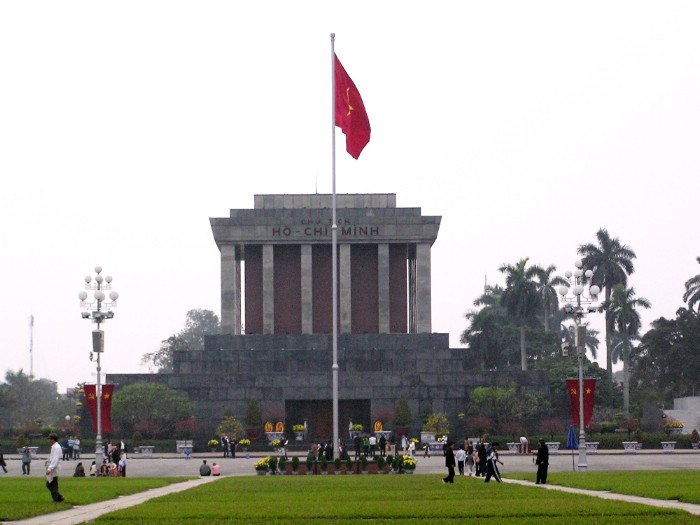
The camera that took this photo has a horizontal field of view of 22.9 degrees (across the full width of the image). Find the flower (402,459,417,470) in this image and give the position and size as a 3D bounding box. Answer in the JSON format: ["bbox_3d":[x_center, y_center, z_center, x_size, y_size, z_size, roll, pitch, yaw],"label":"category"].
[{"bbox_3d":[4.275,14.502,123.239,0.758,0.578,0.785,2,0,3],"label":"flower"}]

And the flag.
[{"bbox_3d":[0.006,-10.976,124.018,1.619,7.313,2.555,-12,-17,36],"label":"flag"}]

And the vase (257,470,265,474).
[{"bbox_3d":[-6.337,15.028,123.386,0.427,0.319,0.237,0,9,0],"label":"vase"}]

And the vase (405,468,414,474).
[{"bbox_3d":[4.273,14.943,123.326,0.412,0.426,0.230,0,-9,-6],"label":"vase"}]

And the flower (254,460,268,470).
[{"bbox_3d":[-6.319,14.586,123.263,0.742,0.634,0.715,4,-5,-38],"label":"flower"}]
